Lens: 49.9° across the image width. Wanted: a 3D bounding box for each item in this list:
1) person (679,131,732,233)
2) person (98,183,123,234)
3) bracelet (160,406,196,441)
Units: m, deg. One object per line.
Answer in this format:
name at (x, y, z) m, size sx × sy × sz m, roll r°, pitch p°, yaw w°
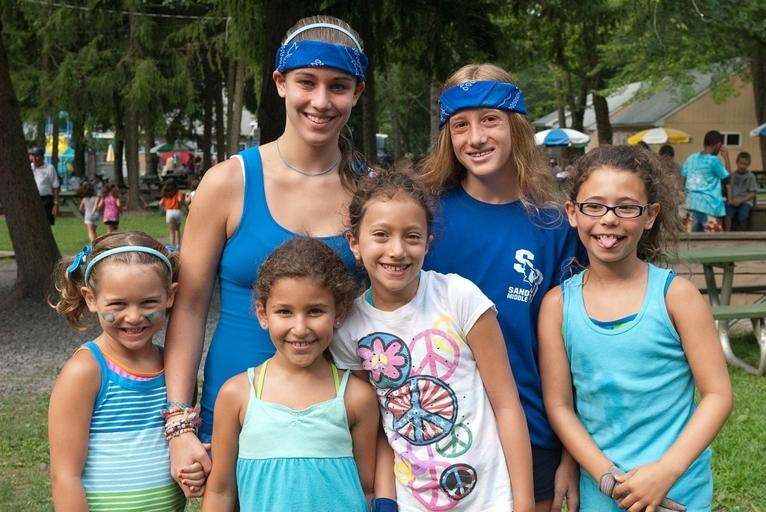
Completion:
person at (5.674, -0.969, 14.533) m, size 0.746 × 2.310 × 0.692 m, roll 3°, pitch 24°, yaw 25°
person at (-6.300, -0.987, 18.902) m, size 0.515 × 1.429 × 0.493 m, roll -9°, pitch 30°, yaw -27°
bracelet at (-1.295, 1.063, 5.222) m, size 0.180 × 0.148 × 0.216 m, roll 4°, pitch -1°, yaw -23°
